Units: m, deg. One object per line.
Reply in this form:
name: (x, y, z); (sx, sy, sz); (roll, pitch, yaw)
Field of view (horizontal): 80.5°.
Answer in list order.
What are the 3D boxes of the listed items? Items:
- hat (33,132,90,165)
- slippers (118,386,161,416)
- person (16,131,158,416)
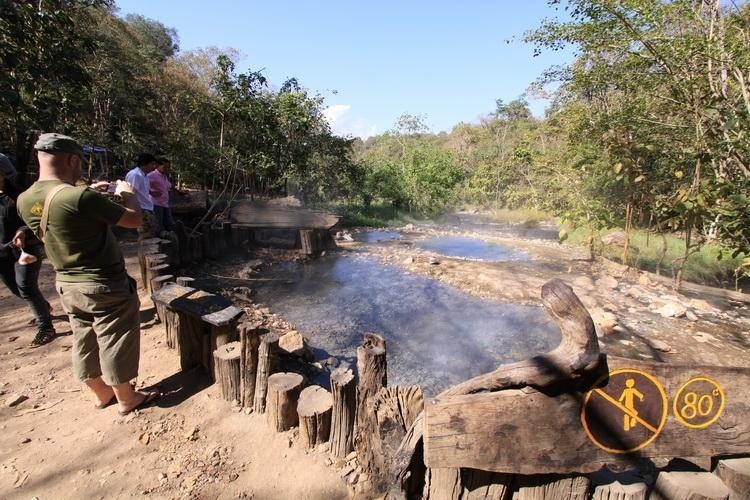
hat: (-4.702, -1.531, 6.701); (0.415, 0.194, 0.543); (9, 8, 5)
slippers: (-3.771, 2.391, 7.089); (0.274, 0.210, 0.518); (13, 21, 23)
person: (-4.306, 0.411, 6.825); (1.554, 4.261, 0.739); (5, 12, 14)
